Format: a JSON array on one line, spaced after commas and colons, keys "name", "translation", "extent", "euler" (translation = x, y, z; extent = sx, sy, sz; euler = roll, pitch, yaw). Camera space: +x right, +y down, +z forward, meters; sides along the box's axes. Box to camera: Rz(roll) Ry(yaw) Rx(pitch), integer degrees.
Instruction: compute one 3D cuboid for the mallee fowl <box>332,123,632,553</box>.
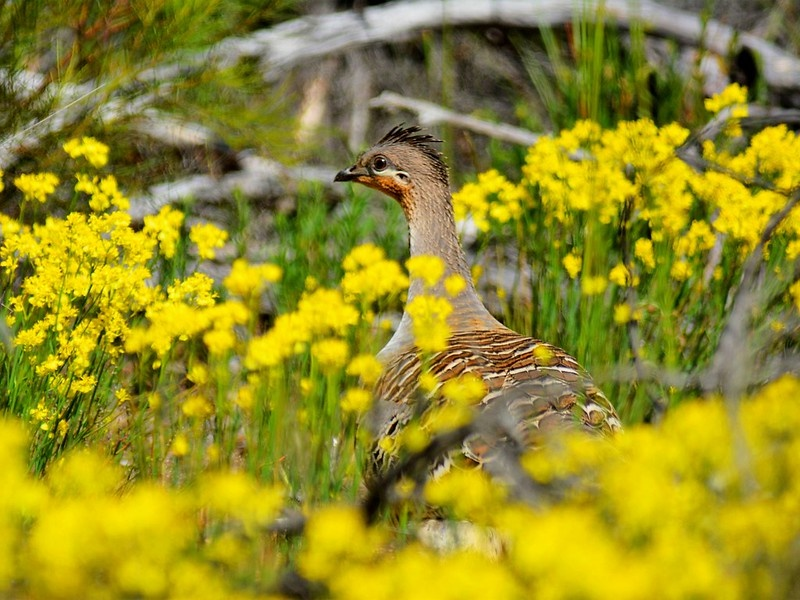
[{"name": "mallee fowl", "translation": [0.215, 0.099, 3.802], "extent": [0.613, 1.570, 1.228], "euler": [0, 3, 0]}]
